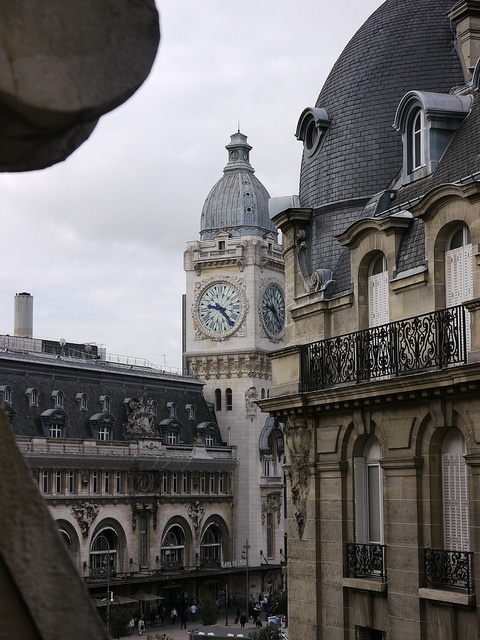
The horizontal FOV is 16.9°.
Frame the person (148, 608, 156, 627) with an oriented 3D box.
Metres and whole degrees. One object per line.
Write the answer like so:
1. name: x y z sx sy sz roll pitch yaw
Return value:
1. person: -4.574 15.618 84.456 0.315 0.773 1.575 -6 2 -3
